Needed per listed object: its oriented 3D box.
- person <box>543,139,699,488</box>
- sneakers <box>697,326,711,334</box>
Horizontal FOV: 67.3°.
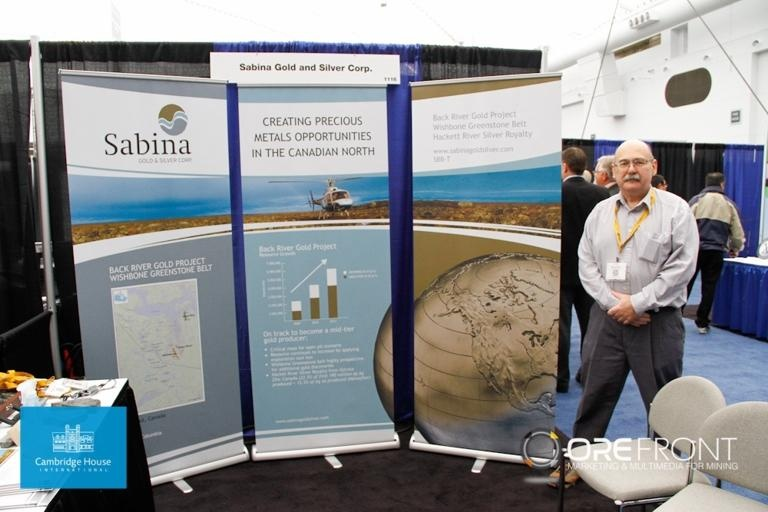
[{"bbox_3d":[1.668,0.418,4.017,0.783,2.374,0.572,1,15,23],"label":"person"},{"bbox_3d":[3.576,0.836,6.474,0.067,0.092,0.127,-3,-2,22],"label":"sneakers"}]
